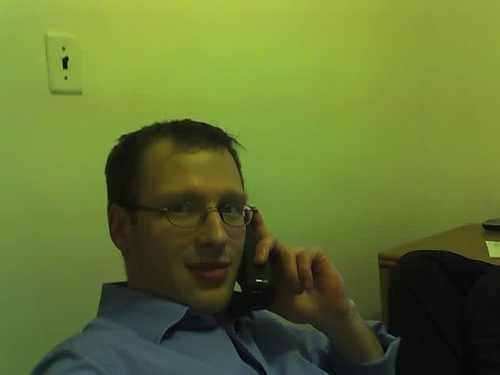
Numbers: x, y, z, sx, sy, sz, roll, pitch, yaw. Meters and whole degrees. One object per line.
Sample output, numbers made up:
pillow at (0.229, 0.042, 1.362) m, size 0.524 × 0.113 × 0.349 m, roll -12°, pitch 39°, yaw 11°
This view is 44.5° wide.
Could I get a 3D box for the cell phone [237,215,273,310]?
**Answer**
cell phone at (0.006, 0.194, 1.406) m, size 0.056 × 0.165 × 0.086 m, roll 4°, pitch -10°, yaw -16°
